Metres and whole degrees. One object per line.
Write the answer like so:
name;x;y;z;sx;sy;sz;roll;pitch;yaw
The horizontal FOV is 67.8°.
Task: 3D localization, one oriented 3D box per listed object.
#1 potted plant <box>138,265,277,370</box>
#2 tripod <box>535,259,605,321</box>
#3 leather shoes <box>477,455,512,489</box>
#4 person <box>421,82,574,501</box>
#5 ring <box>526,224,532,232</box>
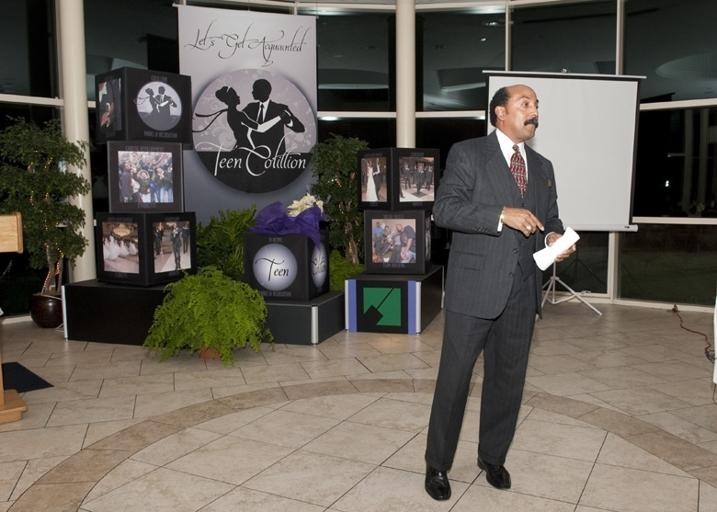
potted plant;-1.368;0.578;4.949;0.953;0.730;0.923;1;-1;-26
tripod;2.832;0.521;7.353;0.876;1.205;0.849;-4;-1;38
leather shoes;0.745;1.185;2.989;0.097;0.098;0.217;-13;15;-20
person;0.709;0.208;2.775;0.717;2.135;0.483;0;8;0
ring;0.800;-0.126;2.497;0.021;0.032;0.039;7;11;41
